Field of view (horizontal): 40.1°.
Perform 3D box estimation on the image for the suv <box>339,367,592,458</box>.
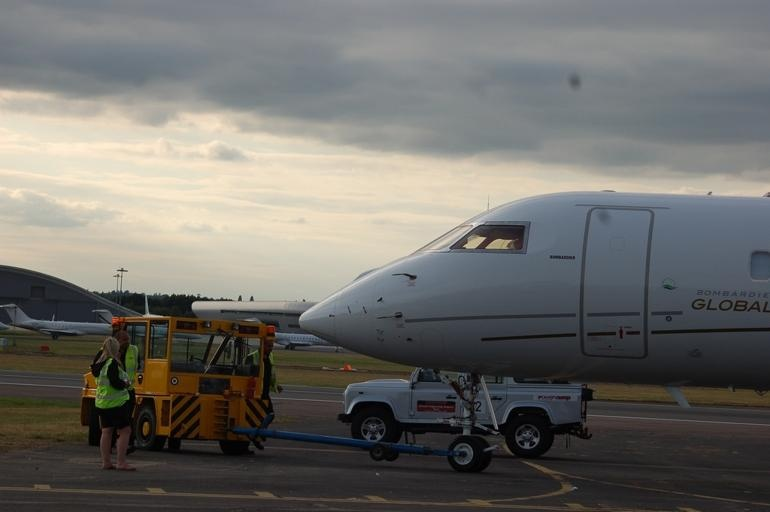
[{"bbox_3d":[1.964,4.360,29.918,7.353,2.079,3.002,1,-10,8],"label":"suv"}]
